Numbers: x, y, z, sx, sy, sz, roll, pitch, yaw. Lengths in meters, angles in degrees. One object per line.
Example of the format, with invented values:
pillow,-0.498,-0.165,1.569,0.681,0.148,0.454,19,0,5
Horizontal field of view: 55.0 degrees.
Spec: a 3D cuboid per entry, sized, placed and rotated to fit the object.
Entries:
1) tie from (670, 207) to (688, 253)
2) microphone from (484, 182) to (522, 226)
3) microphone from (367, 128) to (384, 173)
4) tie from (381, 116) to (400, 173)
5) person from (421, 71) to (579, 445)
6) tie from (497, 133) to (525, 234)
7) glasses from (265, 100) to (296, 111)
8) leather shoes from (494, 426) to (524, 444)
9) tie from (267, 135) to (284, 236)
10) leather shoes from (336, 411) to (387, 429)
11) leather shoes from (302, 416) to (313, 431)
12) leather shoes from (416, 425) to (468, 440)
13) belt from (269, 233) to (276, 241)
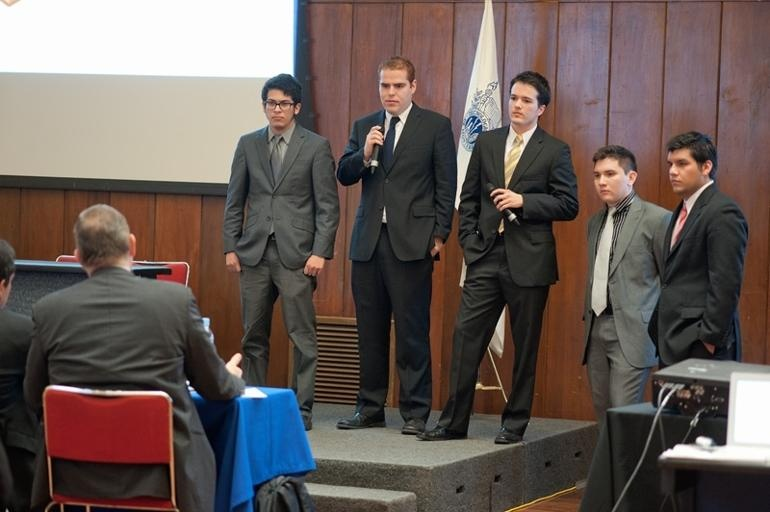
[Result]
tie,1.557,-0.165,3.913,0.037,0.335,0.053,37,-36,-21
microphone,0.667,-0.294,4.206,0.185,0.233,0.211,1,5,11
microphone,-0.055,-0.640,4.439,0.094,0.284,0.282,0,5,-1
tie,0.030,-0.663,4.525,0.070,0.382,0.043,-1,-14,33
person,0.703,0.108,4.313,0.789,1.988,0.425,1,5,15
tie,0.755,-0.486,4.323,0.096,0.740,0.098,26,-27,-23
glasses,-0.639,-0.919,4.531,0.203,0.072,0.093,-1,5,-9
leather shoes,0.717,1.055,4.319,0.074,0.082,0.163,2,3,34
tie,-0.684,-0.438,4.633,0.086,0.623,0.083,0,-4,8
leather shoes,-0.145,0.996,4.585,0.287,0.148,0.119,4,-8,-20
leather shoes,-0.458,1.005,4.490,0.079,0.080,0.190,-1,-7,4
leather shoes,0.339,1.035,4.389,0.287,0.136,0.112,4,-7,-15
belt,-0.697,-0.116,4.572,0.043,0.047,0.012,2,2,22
